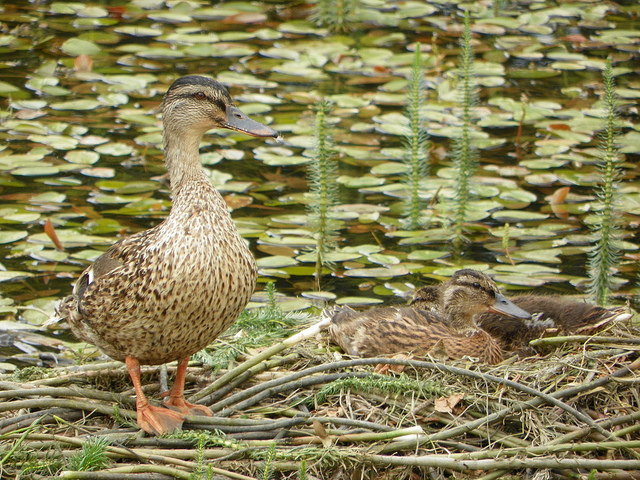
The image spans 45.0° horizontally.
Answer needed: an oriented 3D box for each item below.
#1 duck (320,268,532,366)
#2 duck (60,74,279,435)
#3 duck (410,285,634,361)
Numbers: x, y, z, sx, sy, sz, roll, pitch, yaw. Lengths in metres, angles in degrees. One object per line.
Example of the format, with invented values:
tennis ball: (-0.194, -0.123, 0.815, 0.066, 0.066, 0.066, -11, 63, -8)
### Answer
duck: (0.541, 0.521, 4.939, 1.264, 0.606, 1.339, -2, 12, -7)
duck: (-0.721, 0.058, 4.180, 0.990, 1.849, 0.850, -12, 21, -42)
duck: (1.450, 0.541, 4.989, 1.975, 0.538, 0.425, -4, -29, 9)
